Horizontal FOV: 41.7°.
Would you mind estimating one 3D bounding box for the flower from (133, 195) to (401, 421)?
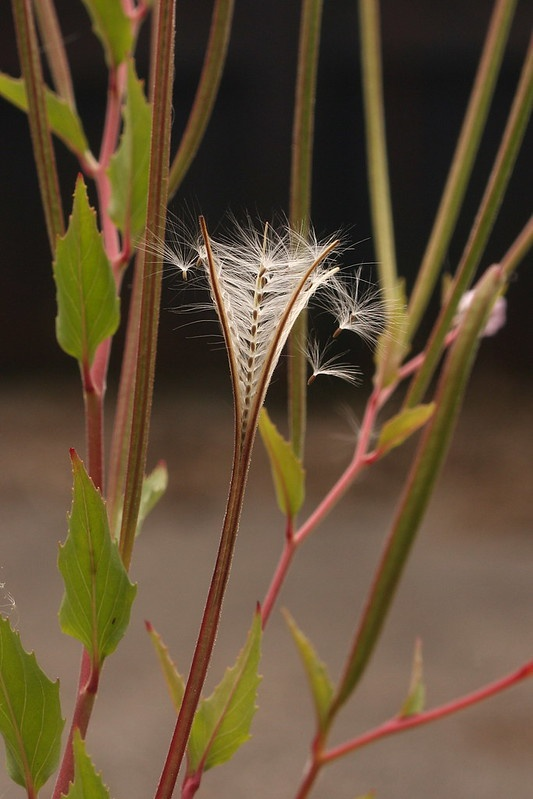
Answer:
[{"bbox_3d":[0.013,-0.031,0.226,0.063,0.027,0.055,18,-3,-36],"label":"flower"}]
